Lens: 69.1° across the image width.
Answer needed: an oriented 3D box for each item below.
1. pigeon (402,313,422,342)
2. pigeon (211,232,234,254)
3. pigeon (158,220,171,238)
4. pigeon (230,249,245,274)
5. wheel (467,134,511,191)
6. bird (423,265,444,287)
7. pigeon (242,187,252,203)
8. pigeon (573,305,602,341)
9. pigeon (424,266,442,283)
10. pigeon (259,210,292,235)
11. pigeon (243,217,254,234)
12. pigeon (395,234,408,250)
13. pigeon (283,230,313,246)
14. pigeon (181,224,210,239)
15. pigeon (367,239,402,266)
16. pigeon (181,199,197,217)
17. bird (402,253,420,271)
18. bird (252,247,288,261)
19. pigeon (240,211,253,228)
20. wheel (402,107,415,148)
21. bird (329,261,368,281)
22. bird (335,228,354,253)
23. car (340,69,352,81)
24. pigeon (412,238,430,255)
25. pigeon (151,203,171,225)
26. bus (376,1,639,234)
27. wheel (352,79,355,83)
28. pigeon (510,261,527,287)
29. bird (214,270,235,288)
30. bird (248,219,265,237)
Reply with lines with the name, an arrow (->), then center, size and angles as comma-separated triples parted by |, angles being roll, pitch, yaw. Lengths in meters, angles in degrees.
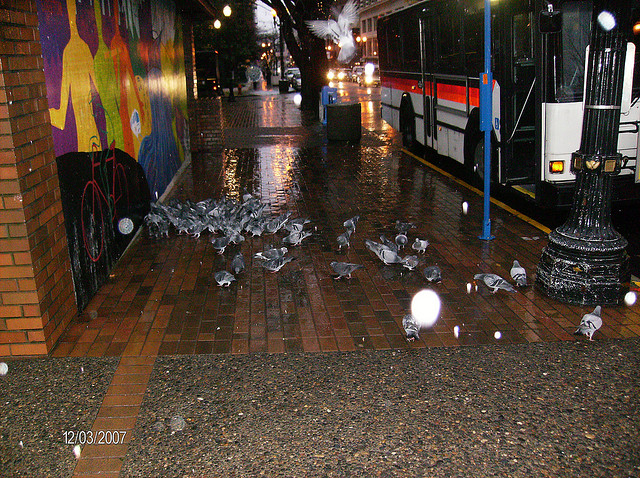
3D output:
pigeon -> 0.983, 0.935, 5.010 | 0.100, 0.148, 0.319 | -2, 14, 2
pigeon -> -1.520, 0.092, 7.353 | 0.325, 0.268, 0.265 | -9, 22, -20
pigeon -> -2.667, -0.161, 7.986 | 0.164, 0.267, 0.170 | -15, 24, -34
pigeon -> -1.148, 0.294, 6.585 | 0.127, 0.134, 0.400 | -1, 40, -1
wheel -> 3.445, -1.575, 9.474 | 0.381, 1.368, 1.266 | -2, 10, -13
bird -> 1.523, 0.488, 6.269 | 0.212, 0.181, 0.320 | 28, 9, 4
pigeon -> -1.418, -0.832, 8.949 | 0.152, 0.416, 0.236 | -4, 7, -9
pigeon -> 2.789, 0.892, 4.968 | 0.324, 0.431, 0.200 | 3, 9, -29
pigeon -> 1.499, 0.490, 6.195 | 0.220, 0.231, 0.195 | 3, 21, 12
pigeon -> -0.749, -0.293, 8.176 | 0.568, 0.371, 0.237 | -20, 62, -14
pigeon -> -1.217, -0.214, 8.065 | 0.208, 0.209, 0.242 | -14, 24, -30
pigeon -> 1.273, 0.025, 7.300 | 0.117, 0.177, 0.250 | -2, -2, 1
pigeon -> -0.377, -0.020, 7.396 | 0.560, 0.192, 0.202 | -13, 12, -38
pigeon -> -2.159, -0.161, 8.010 | 0.425, 0.250, 0.307 | 5, 22, 15
pigeon -> 0.915, 0.165, 6.639 | 0.161, 0.227, 0.565 | -15, 51, -24
pigeon -> -2.406, -0.576, 8.473 | 0.144, 0.173, 0.483 | -8, 59, -21
bird -> 1.283, 0.321, 6.676 | 0.225, 0.251, 0.406 | 0, 21, 5
bird -> -0.703, 0.216, 6.627 | 0.450, 0.222, 0.176 | 16, 6, -11
pigeon -> -1.269, -0.389, 8.201 | 0.136, 0.384, 0.108 | -10, -35, 43
wheel -> 2.921, -3.599, 15.412 | 0.278, 1.000, 0.950 | -4, 19, -7
bird -> 0.367, 0.426, 6.388 | 0.494, 0.344, 0.207 | -14, -4, 22
bird -> 0.389, -0.032, 7.586 | 0.291, 0.298, 0.686 | -1, 22, 2
car -> 3.850, -23.143, 65.887 | 1.684, 1.942, 3.299 | 1, 5, 8
pigeon -> 1.525, 0.106, 7.002 | 0.125, 0.203, 0.278 | 3, 24, 29
pigeon -> -2.834, -0.483, 8.255 | 0.211, 0.240, 0.622 | -11, 32, -38
bus -> 3.458, -2.209, 8.741 | 2.130, 2.238, 6.100 | -8, 28, -8
wheel -> 4.509, -21.110, 62.528 | 0.129, 0.615, 0.552 | -3, 5, -34
pigeon -> 2.534, 0.453, 5.987 | 0.136, 0.228, 0.326 | -5, 27, 1
bird -> -1.268, 0.524, 6.195 | 0.235, 0.183, 0.152 | -15, 6, 12
bird -> -1.096, -0.183, 8.043 | 0.268, 0.253, 0.242 | -5, 21, -10
